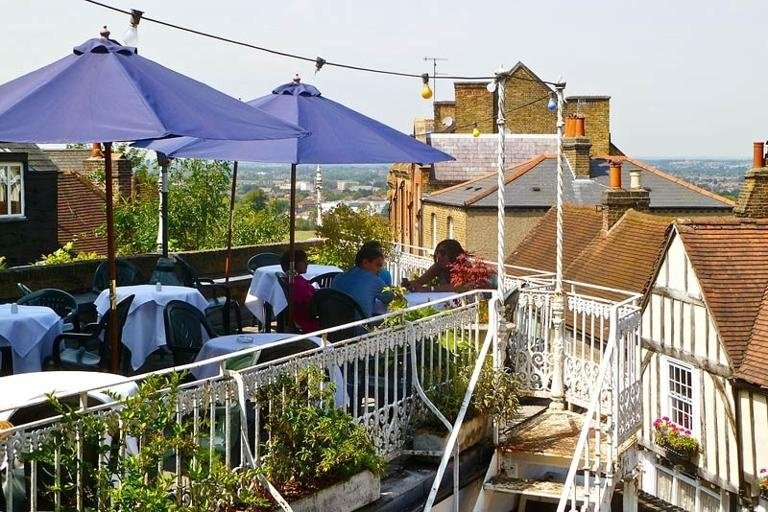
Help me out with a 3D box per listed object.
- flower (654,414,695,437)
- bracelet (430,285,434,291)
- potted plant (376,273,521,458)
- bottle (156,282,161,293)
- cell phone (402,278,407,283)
[{"bbox_3d":[7.158,4.299,25.251,0.473,0.411,1.188,-1,6,-14],"label":"flower"},{"bbox_3d":[0.818,0.578,17.346,0.044,0.051,0.100,1,16,3],"label":"bracelet"},{"bbox_3d":[0.663,1.729,15.064,1.689,2.630,0.590,7,-11,-27],"label":"potted plant"},{"bbox_3d":[-3.599,0.540,16.281,0.108,0.195,0.117,-1,3,0],"label":"bottle"},{"bbox_3d":[0.412,0.504,19.693,0.071,0.072,0.039,1,-2,-42],"label":"cell phone"}]
